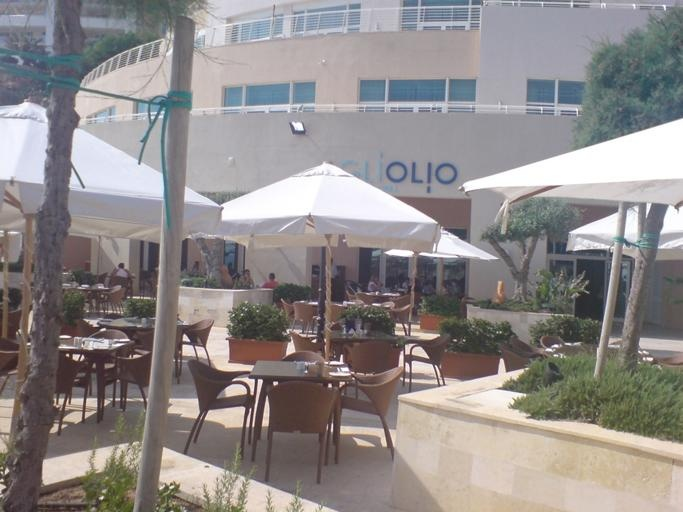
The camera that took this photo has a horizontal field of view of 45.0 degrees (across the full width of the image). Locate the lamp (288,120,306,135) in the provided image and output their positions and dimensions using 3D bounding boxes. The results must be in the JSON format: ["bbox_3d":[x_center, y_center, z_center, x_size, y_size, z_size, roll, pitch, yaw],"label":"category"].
[{"bbox_3d":[-1.232,-3.601,23.445,0.423,0.374,0.329,3,5,2],"label":"lamp"}]

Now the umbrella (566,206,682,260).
[{"bbox_3d":[4.607,-0.353,13.324,1.485,0.858,1.589,3,-1,22],"label":"umbrella"}]

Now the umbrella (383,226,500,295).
[{"bbox_3d":[2.379,0.057,19.253,1.522,0.866,1.545,7,1,-32],"label":"umbrella"}]

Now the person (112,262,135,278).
[{"bbox_3d":[-6.578,0.428,24.946,0.322,0.328,0.890,6,17,-10],"label":"person"}]
